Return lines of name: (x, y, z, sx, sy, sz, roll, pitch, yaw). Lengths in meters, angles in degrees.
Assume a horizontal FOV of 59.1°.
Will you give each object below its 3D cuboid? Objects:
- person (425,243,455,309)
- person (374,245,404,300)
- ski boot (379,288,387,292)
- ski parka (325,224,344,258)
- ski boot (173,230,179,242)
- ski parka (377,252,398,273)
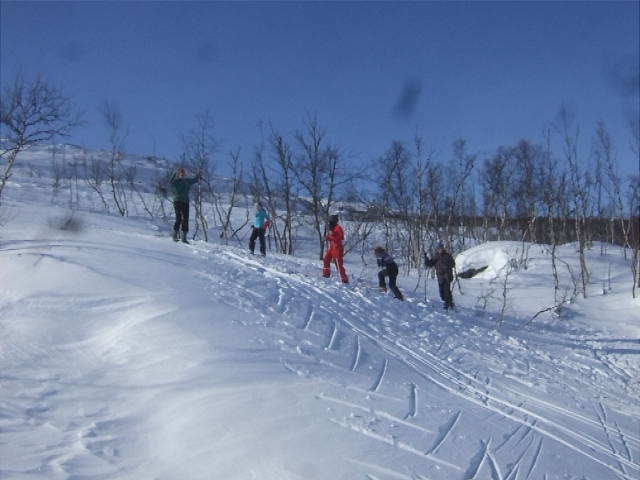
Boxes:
person: (3.516, 1.004, 16.240, 0.813, 1.819, 0.609, 7, 13, 14)
person: (1.988, 0.872, 16.238, 0.894, 1.556, 1.183, 6, 13, 9)
ski boot: (1.806, 1.420, 16.106, 0.271, 0.131, 0.189, 1, 14, -16)
ski parka: (0.410, 0.082, 15.487, 0.456, 0.985, 0.689, 4, 13, 1)
ski boot: (-4.146, -0.152, 16.202, 0.179, 0.442, 0.618, 0, 14, -15)
ski parka: (1.879, 0.617, 15.750, 0.563, 0.465, 0.305, 6, 13, 4)
